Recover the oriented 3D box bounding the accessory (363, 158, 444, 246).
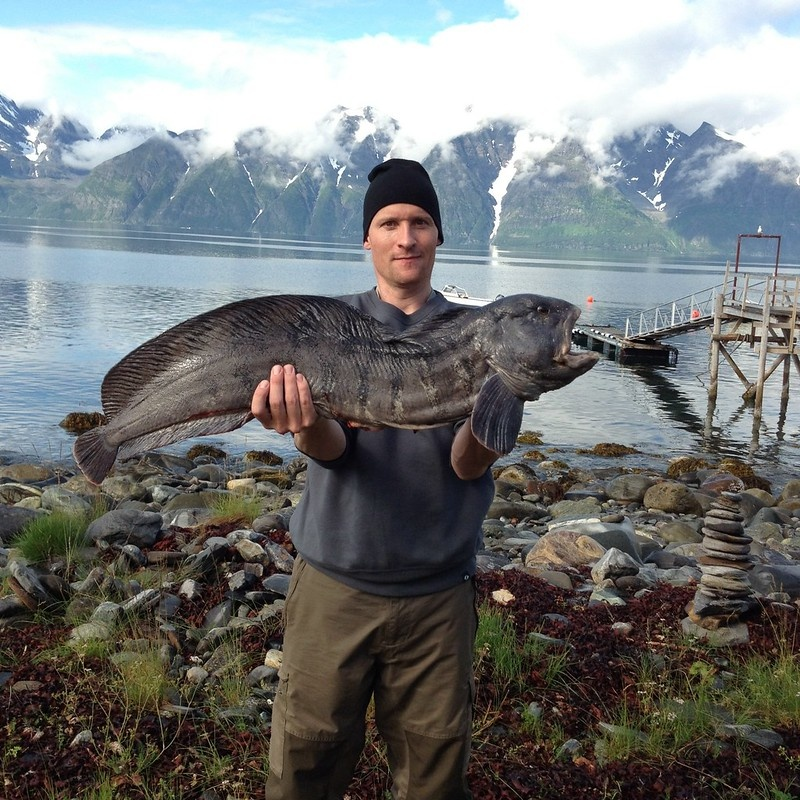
[{"bbox_3d":[-0.055,-1.099,3.992,0.538,0.453,0.525,0,-1,-8],"label":"accessory"}]

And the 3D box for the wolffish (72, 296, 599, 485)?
[{"bbox_3d":[-0.334,-0.037,3.348,2.428,1.015,0.510,5,11,12],"label":"wolffish"}]
